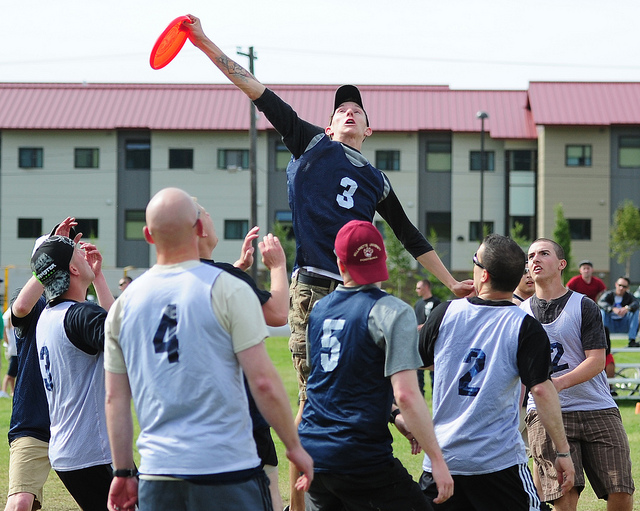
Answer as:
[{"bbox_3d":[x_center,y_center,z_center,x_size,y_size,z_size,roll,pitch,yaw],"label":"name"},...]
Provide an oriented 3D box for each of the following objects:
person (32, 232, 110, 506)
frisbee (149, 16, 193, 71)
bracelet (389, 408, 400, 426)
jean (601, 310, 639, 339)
[{"bbox_3d":[-3.198,1.520,16.512,1.051,3.607,0.534,-4,-4,30],"label":"person"},{"bbox_3d":[-2.043,-2.900,16.934,0.456,0.646,0.499,1,-5,-40],"label":"frisbee"},{"bbox_3d":[0.967,2.105,16.337,0.134,0.199,0.403,-3,-4,3],"label":"bracelet"},{"bbox_3d":[6.172,1.402,25.731,0.864,0.619,0.510,2,5,1],"label":"jean"}]
